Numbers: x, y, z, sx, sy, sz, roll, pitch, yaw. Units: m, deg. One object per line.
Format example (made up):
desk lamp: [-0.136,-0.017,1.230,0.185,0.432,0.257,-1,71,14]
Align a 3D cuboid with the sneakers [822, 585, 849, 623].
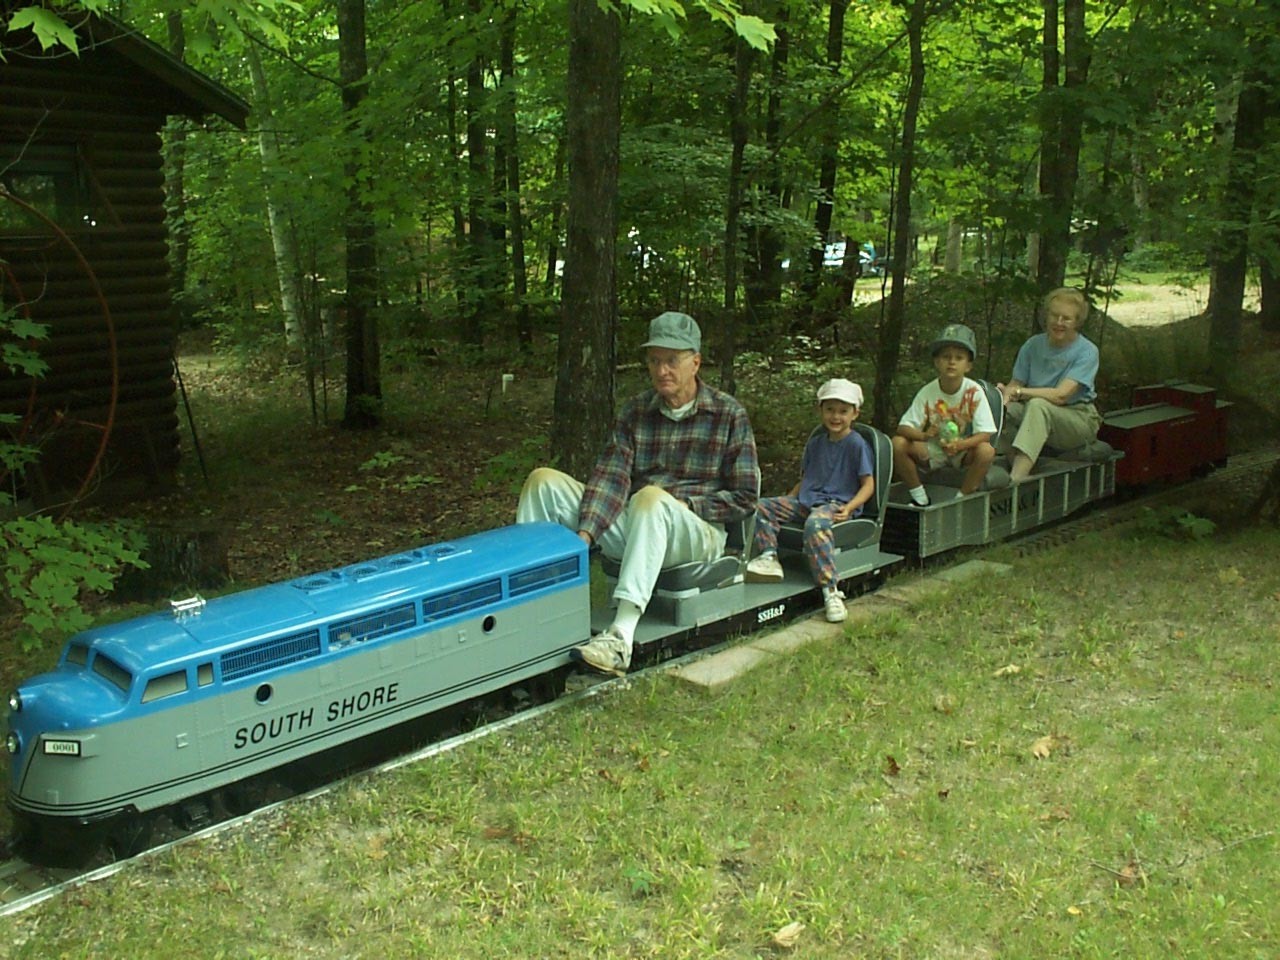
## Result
sneakers: [1.426,0.915,10.076,0.138,0.116,0.312,-5,7,-1]

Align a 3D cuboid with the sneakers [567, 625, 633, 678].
sneakers: [-0.245,1.119,8.903,0.207,0.199,0.417,37,9,30]

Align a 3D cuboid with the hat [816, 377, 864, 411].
hat: [1.534,-0.707,10.547,0.375,0.188,0.441,1,-4,14]

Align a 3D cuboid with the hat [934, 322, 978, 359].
hat: [2.643,-1.179,11.289,0.315,0.181,0.393,4,-19,37]

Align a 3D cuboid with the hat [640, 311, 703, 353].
hat: [0.243,-1.011,9.383,0.289,0.162,0.367,2,-2,26]

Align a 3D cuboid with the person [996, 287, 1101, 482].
person: [3.713,-0.898,12.368,0.837,1.611,1.105,5,15,18]

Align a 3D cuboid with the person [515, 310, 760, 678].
person: [-0.083,0.032,9.442,1.042,2.348,1.506,12,19,38]

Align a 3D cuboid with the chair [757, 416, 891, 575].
chair: [1.331,0.156,10.698,1.127,1.062,1.255,6,17,35]

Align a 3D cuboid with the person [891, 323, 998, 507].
person: [2.561,-0.559,11.448,0.837,1.486,0.677,3,16,12]
